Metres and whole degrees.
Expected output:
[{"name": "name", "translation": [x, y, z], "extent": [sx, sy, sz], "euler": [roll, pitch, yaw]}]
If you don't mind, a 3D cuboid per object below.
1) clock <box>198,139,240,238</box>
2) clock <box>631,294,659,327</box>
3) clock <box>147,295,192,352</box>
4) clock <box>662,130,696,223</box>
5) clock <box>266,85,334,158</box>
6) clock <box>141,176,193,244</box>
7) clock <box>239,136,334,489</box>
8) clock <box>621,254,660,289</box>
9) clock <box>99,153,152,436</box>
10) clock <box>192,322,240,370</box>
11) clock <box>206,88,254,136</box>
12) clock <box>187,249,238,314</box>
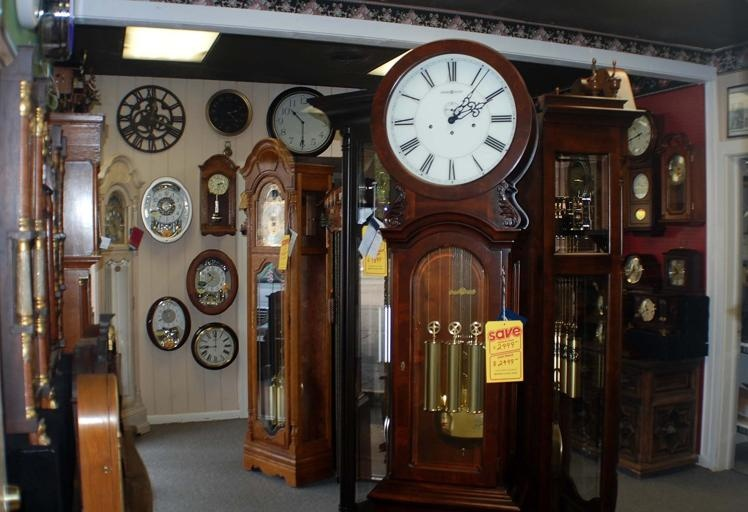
[{"name": "clock", "translation": [-1.466, -0.597, 6.918], "extent": [0.359, 0.912, 0.110], "euler": [-3, 26, -18]}, {"name": "clock", "translation": [2.260, 0.441, 6.065], "extent": [0.046, 0.223, 0.198], "euler": [1, -4, -30]}, {"name": "clock", "translation": [-1.927, 0.652, 6.870], "extent": [0.387, 0.593, 0.055], "euler": [-2, 27, -16]}, {"name": "clock", "translation": [2.535, -0.654, 6.090], "extent": [0.264, 0.529, 0.110], "euler": [-1, 0, 28]}, {"name": "clock", "translation": [-0.690, -1.222, 6.653], "extent": [0.671, 0.762, 0.076], "euler": [4, -6, -4]}, {"name": "clock", "translation": [-1.946, -0.432, 6.795], "extent": [0.537, 0.860, 0.102], "euler": [0, 3, -2]}, {"name": "clock", "translation": [-0.706, 0.427, 5.873], "extent": [0.765, 2.558, 0.426], "euler": [-1, 0, 1]}, {"name": "clock", "translation": [2.243, 0.142, 6.108], "extent": [0.181, 0.410, 0.275], "euler": [1, -3, -13]}, {"name": "clock", "translation": [-2.279, 0.134, 6.500], "extent": [0.447, 1.868, 0.187], "euler": [4, 25, -9]}, {"name": "clock", "translation": [-1.522, 0.850, 6.943], "extent": [0.399, 0.470, 0.058], "euler": [0, 0, -11]}, {"name": "clock", "translation": [-1.375, -1.330, 7.015], "extent": [0.377, 0.448, 0.401], "euler": [1, -2, -3]}, {"name": "clock", "translation": [-1.545, 0.245, 6.903], "extent": [0.512, 0.765, 0.055], "euler": [1, -2, -16]}]
